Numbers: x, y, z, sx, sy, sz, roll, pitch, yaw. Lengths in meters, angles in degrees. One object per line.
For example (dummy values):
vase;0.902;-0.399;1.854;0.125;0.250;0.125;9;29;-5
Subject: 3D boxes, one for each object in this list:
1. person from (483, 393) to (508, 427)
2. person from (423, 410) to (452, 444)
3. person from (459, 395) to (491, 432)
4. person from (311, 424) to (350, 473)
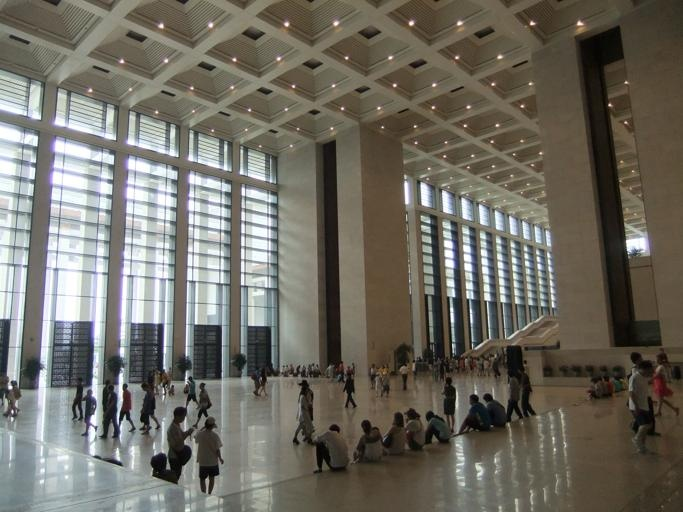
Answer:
person;4.217;4.259;14.202;0.701;0.921;0.687;-18;-9;28
person;2.354;4.228;12.673;0.740;0.773;0.476;-1;12;34
person;3.572;4.258;13.710;0.849;1.093;0.546;-2;-10;33
person;-0.274;4.134;11.158;0.795;1.143;0.876;4;-5;-23
